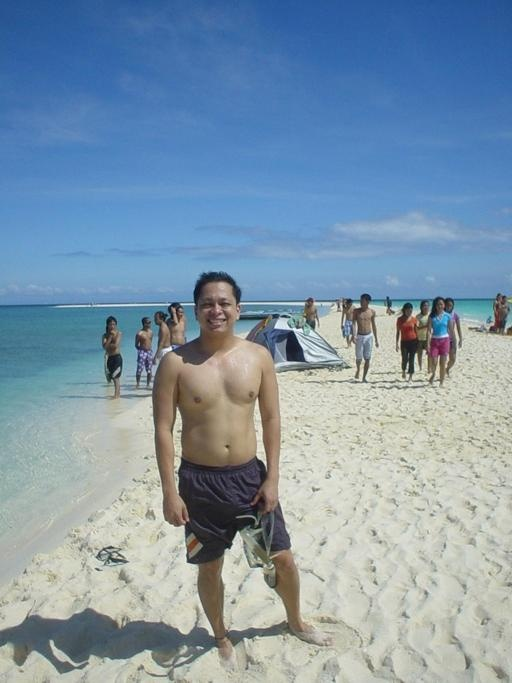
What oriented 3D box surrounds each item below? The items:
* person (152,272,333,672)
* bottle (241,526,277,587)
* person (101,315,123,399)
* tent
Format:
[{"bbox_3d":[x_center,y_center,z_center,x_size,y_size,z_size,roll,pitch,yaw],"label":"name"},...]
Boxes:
[{"bbox_3d":[-0.119,0.614,2.663,0.707,1.909,0.317,-6,4,-18],"label":"person"},{"bbox_3d":[0.016,1.010,2.636,0.137,0.286,0.186,-9,-20,-3],"label":"bottle"},{"bbox_3d":[-2.945,0.368,11.349,0.352,1.718,1.115,-5,4,-16],"label":"person"},{"bbox_3d":[0.984,0.097,13.793,1.642,0.882,1.921,-2,8,-22],"label":"tent"}]
